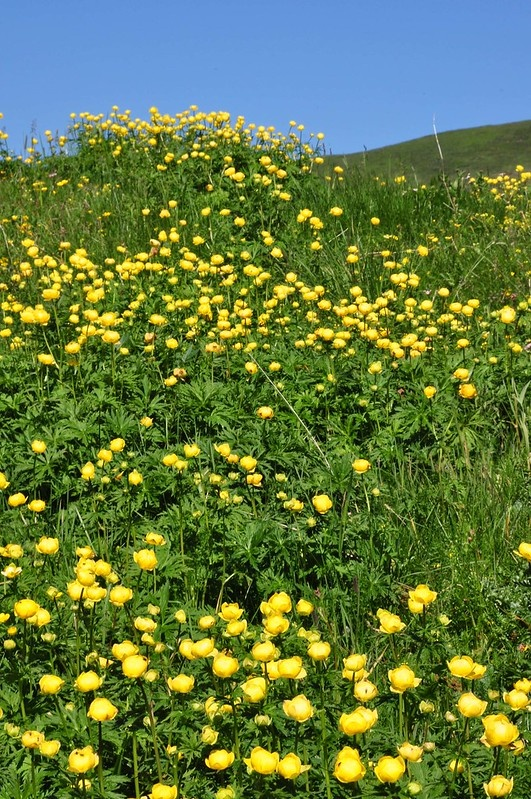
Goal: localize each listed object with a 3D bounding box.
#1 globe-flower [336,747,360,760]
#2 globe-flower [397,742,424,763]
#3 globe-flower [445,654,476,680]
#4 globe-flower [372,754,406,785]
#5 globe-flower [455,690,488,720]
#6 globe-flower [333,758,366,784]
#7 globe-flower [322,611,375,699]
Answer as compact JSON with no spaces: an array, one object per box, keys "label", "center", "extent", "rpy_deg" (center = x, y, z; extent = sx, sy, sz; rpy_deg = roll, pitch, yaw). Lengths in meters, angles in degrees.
[{"label":"globe-flower","center":[0.190,0.814,1.846],"extent":[0.041,0.024,0.034],"rpy_deg":[-19,47,-19]},{"label":"globe-flower","center":[0.361,0.882,2.012],"extent":[0.051,0.052,0.064],"rpy_deg":[-6,0,4]},{"label":"globe-flower","center":[0.498,0.678,2.030],"extent":[0.060,0.067,0.129],"rpy_deg":[-6,0,16]},{"label":"globe-flower","center":[0.295,0.880,1.912],"extent":[0.062,0.076,0.094],"rpy_deg":[-6,0,4]},{"label":"globe-flower","center":[0.499,0.744,1.945],"extent":[0.051,0.069,0.083],"rpy_deg":[-7,0,22]},{"label":"globe-flower","center":[0.186,0.834,1.809],"extent":[0.064,0.060,0.039],"rpy_deg":[-6,0,14]},{"label":"globe-flower","center":[0.268,0.830,2.605],"extent":[0.161,0.352,0.127],"rpy_deg":[-7,18,-1]}]
